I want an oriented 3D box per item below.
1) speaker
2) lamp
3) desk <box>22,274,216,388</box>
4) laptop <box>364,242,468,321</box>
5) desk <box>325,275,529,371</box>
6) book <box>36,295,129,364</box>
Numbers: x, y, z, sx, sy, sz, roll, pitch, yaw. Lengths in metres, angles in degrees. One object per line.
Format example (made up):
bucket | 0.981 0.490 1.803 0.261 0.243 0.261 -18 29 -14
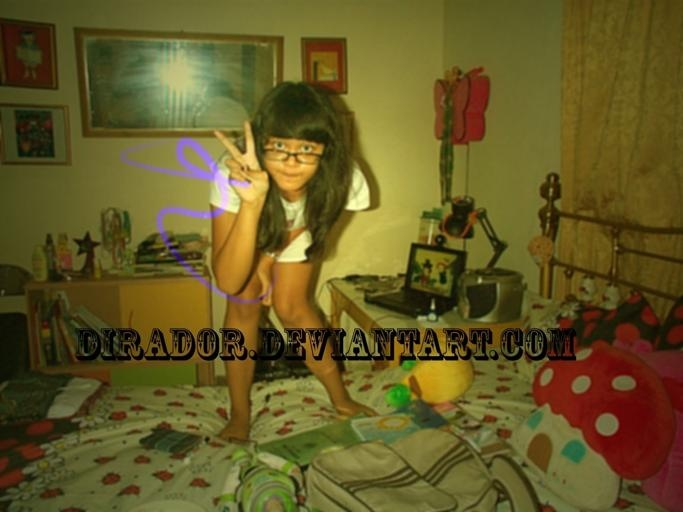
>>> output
speaker | 0.557 0.124 2.011 0.197 0.147 0.197 -8 10 -19
lamp | 0.536 -0.131 2.322 0.309 0.333 0.195 10 23 29
desk | -1.043 0.365 2.570 0.524 0.473 0.182 -1 2 -6
laptop | 0.324 0.093 2.221 0.282 0.307 0.345 10 -4 -43
desk | 0.259 0.235 2.177 0.386 0.305 0.616 -1 13 -10
book | -1.275 0.356 2.680 0.114 0.270 0.347 -15 -5 39
